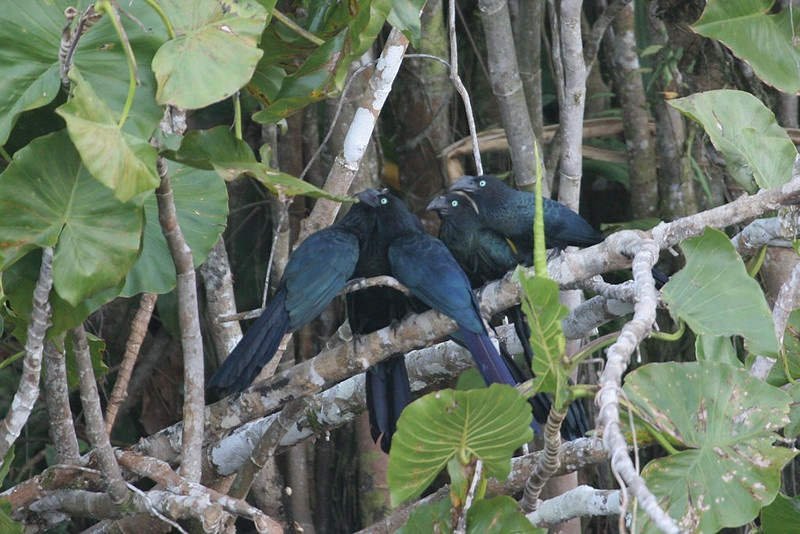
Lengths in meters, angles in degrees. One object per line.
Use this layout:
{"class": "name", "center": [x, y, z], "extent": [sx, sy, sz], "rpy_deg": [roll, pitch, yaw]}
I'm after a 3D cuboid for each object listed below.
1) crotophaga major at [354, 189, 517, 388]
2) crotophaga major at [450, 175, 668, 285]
{"class": "crotophaga major", "center": [0.173, 0.060, 6.182], "extent": [0.395, 1.191, 0.869], "rpy_deg": [-6, -11, -21]}
{"class": "crotophaga major", "center": [0.873, -0.179, 6.861], "extent": [1.399, 0.690, 0.464], "rpy_deg": [4, -2, 11]}
